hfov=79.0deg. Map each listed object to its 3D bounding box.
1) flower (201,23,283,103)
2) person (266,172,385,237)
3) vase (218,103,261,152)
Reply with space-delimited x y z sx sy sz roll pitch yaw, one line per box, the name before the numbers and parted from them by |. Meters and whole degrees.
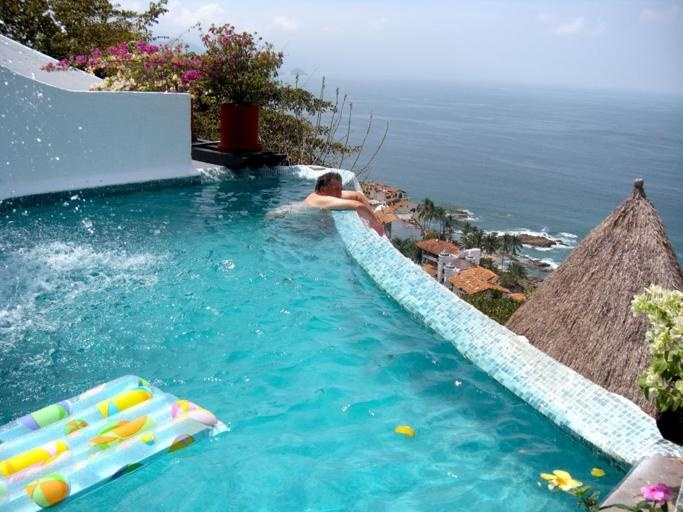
flower | -1.851 -3.356 7.049 1.188 1.300 1.101 0 23 -11
person | -0.136 -0.730 5.186 1.485 0.607 0.705 7 23 6
vase | -1.906 -2.348 7.315 0.900 0.752 0.849 12 24 15
